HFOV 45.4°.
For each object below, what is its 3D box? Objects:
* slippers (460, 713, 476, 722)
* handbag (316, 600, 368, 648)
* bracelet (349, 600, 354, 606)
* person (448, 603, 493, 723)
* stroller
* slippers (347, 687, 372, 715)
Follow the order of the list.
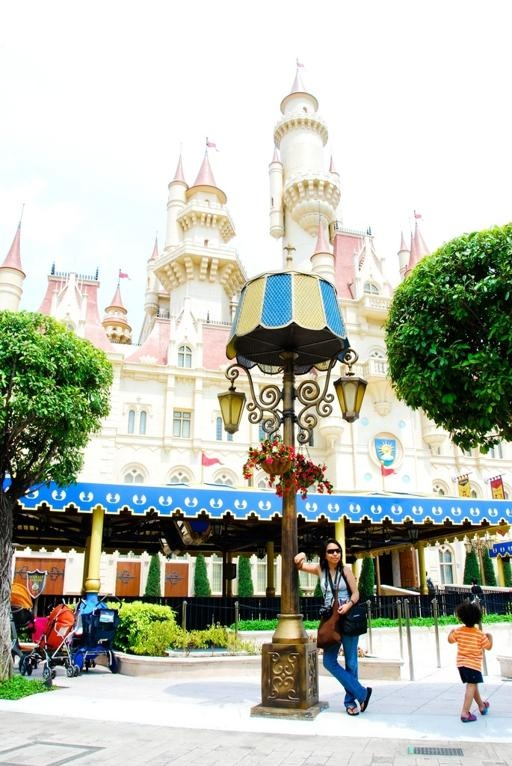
[{"bbox_3d":[2.251,3.531,6.475,0.147,0.063,0.070,12,-15,-41],"label":"slippers"},{"bbox_3d":[0.967,2.755,6.918,0.559,0.474,0.356,-1,-20,4],"label":"handbag"},{"bbox_3d":[1.064,2.429,6.765,0.069,0.052,0.070,3,-39,24],"label":"bracelet"},{"bbox_3d":[2.477,3.153,7.050,0.451,1.196,1.231,-5,-20,17],"label":"person"},{"bbox_3d":[-3.199,4.500,11.114,2.067,1.490,1.395,-29,-38,31],"label":"stroller"},{"bbox_3d":[1.134,3.613,6.951,0.236,0.249,0.419,-10,-22,28],"label":"slippers"}]
